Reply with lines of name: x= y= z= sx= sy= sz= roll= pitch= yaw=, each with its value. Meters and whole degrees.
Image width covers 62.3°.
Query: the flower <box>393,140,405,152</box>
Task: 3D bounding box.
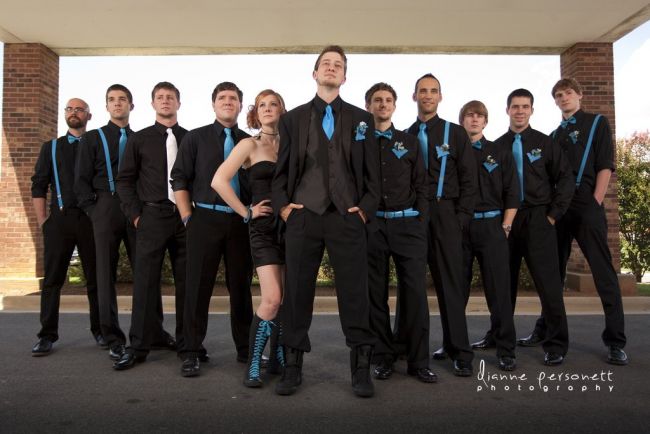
flower: x=0.924 y=-0.865 z=6.648 sx=0.116 sy=0.113 sz=0.038 roll=3 pitch=-20 yaw=9

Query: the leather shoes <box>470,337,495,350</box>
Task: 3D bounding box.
leather shoes: x=2.189 y=1.747 z=7.442 sx=0.343 sy=0.141 sz=0.141 roll=3 pitch=-5 yaw=-12

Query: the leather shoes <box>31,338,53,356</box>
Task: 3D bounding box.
leather shoes: x=-3.824 y=1.743 z=7.232 sx=0.236 sy=0.164 sz=0.273 roll=-4 pitch=12 yaw=-16

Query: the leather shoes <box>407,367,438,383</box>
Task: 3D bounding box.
leather shoes: x=1.204 y=1.911 z=6.561 sx=0.146 sy=0.129 sz=0.314 roll=6 pitch=-4 yaw=-43

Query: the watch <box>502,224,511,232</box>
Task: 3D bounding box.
watch: x=2.377 y=0.144 z=6.968 sx=0.086 sy=0.083 sz=0.050 roll=2 pitch=-4 yaw=-12

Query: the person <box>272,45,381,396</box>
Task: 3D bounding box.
person: x=0.019 y=0.030 z=6.245 sx=1.230 sy=3.926 sz=0.835 roll=1 pitch=11 yaw=4

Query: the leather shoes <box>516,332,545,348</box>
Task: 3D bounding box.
leather shoes: x=2.899 y=1.735 z=7.581 sx=0.390 sy=0.149 sz=0.166 roll=2 pitch=-6 yaw=-19

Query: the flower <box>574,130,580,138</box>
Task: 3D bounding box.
flower: x=3.462 y=-1.131 z=7.353 sx=0.103 sy=0.096 sz=0.024 roll=3 pitch=-9 yaw=24

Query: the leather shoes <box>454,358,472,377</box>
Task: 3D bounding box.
leather shoes: x=1.717 y=1.862 z=6.640 sx=0.237 sy=0.160 sz=0.166 roll=3 pitch=12 yaw=15

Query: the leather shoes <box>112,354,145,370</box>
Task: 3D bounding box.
leather shoes: x=-2.494 y=1.827 z=6.798 sx=0.147 sy=0.160 sz=0.393 roll=1 pitch=-4 yaw=40

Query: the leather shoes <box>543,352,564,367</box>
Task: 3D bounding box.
leather shoes: x=2.947 y=1.818 z=6.897 sx=0.241 sy=0.110 sz=0.220 roll=4 pitch=12 yaw=19

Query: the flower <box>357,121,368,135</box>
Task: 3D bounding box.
flower: x=0.432 y=-1.021 z=6.229 sx=0.117 sy=0.132 sz=0.069 roll=6 pitch=-3 yaw=-3

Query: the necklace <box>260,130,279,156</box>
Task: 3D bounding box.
necklace: x=-0.664 y=-0.934 z=6.688 sx=0.310 sy=0.294 sz=0.244 roll=3 pitch=5 yaw=44

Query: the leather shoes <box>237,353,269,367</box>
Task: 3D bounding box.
leather shoes: x=-0.906 y=1.847 z=6.915 sx=0.194 sy=0.223 sz=0.562 roll=4 pitch=-8 yaw=-32

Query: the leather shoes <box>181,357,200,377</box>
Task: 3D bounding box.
leather shoes: x=-1.667 y=1.853 z=6.648 sx=0.237 sy=0.167 sz=0.192 roll=-3 pitch=12 yaw=-13

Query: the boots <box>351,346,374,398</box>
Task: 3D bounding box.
boots: x=0.434 y=1.769 z=6.314 sx=0.260 sy=0.501 sz=0.761 roll=0 pitch=4 yaw=-4

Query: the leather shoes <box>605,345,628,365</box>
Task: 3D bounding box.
leather shoes: x=3.775 y=1.779 z=6.914 sx=0.249 sy=0.168 sz=0.228 roll=4 pitch=12 yaw=19

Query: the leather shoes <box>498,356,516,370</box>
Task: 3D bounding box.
leather shoes: x=2.325 y=1.832 z=6.775 sx=0.242 sy=0.131 sz=0.199 roll=2 pitch=12 yaw=8

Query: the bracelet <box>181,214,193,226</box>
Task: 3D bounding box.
bracelet: x=-1.743 y=0.050 z=6.768 sx=0.110 sy=0.051 sz=0.140 roll=-9 pitch=-29 yaw=-49

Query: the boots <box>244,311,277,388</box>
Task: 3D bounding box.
boots: x=-0.787 y=1.566 z=6.495 sx=0.307 sy=0.835 sz=0.533 roll=3 pitch=12 yaw=16

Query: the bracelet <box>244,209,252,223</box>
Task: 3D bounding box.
bracelet: x=-0.931 y=-0.009 z=6.511 sx=0.050 sy=0.132 sz=0.109 roll=5 pitch=0 yaw=-35
